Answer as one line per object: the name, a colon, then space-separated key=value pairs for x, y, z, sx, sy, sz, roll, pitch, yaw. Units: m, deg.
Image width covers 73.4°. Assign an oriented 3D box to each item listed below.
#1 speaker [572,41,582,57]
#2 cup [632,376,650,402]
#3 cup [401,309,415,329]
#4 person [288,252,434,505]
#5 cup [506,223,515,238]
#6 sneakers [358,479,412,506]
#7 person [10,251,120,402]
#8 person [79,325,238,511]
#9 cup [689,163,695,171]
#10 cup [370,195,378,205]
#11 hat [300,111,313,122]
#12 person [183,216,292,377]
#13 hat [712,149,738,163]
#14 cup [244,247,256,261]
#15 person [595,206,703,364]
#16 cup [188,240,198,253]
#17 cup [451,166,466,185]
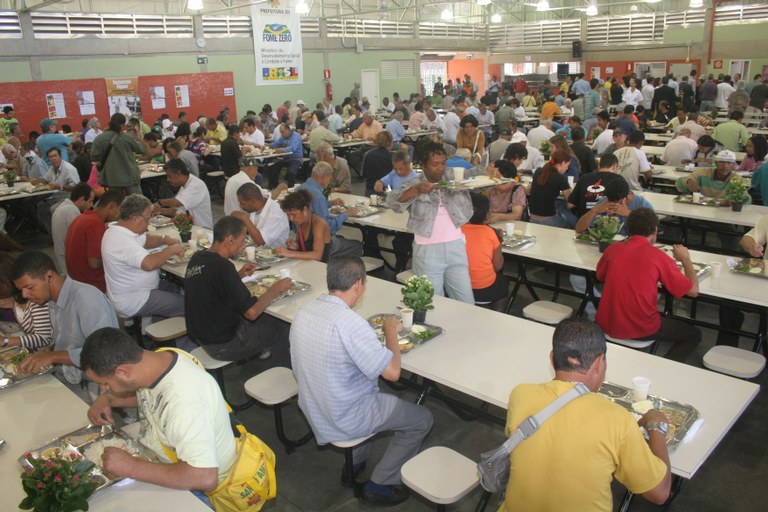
speaker: x=8.187 y=-8.803 z=21.944 sx=0.403 sy=0.667 sz=0.310 roll=6 pitch=21 yaw=23
cup: x=1.556 y=0.797 z=3.132 sx=0.120 sy=0.126 sz=0.120 roll=-2 pitch=4 yaw=0
cup: x=0.177 y=0.474 z=3.891 sx=0.114 sy=0.134 sz=0.133 roll=0 pitch=7 yaw=6
person: x=-0.169 y=0.946 z=3.698 sx=0.984 sy=1.845 sz=0.995 roll=-25 pitch=38 yaw=-36
cup: x=1.348 y=-0.293 z=5.573 sx=0.112 sy=0.144 sz=0.141 roll=-3 pitch=7 yaw=2
sneakers: x=-0.010 y=1.708 z=3.754 sx=0.334 sy=0.119 sz=0.191 roll=-8 pitch=21 yaw=-20
person: x=-2.355 y=0.540 z=3.771 sx=0.570 sy=1.060 sz=0.600 roll=30 pitch=48 yaw=32
person: x=-1.352 y=0.973 z=3.035 sx=0.537 sy=0.936 sz=0.597 roll=-16 pitch=51 yaw=-21
cup: x=4.719 y=-1.377 z=7.906 sx=0.088 sy=0.099 sz=0.103 roll=4 pitch=12 yaw=18
cup: x=-0.125 y=-0.776 z=7.048 sx=0.139 sy=0.158 sz=0.137 roll=2 pitch=4 yaw=0
hat: x=-2.083 y=-3.775 z=13.891 sx=0.318 sy=0.235 sz=0.450 roll=1 pitch=10 yaw=3
person: x=-1.271 y=0.400 z=4.529 sx=0.747 sy=1.362 sz=0.958 roll=35 pitch=47 yaw=28
hat: x=4.231 y=-1.255 z=6.392 sx=0.174 sy=0.098 sz=0.241 roll=10 pitch=25 yaw=28
cup: x=-1.367 y=-0.033 z=5.275 sx=0.127 sy=0.144 sz=0.131 roll=0 pitch=3 yaw=0
person: x=2.199 y=0.368 z=4.409 sx=0.785 sy=1.471 sz=0.853 roll=-21 pitch=24 yaw=-33
cup: x=-2.109 y=-0.109 z=5.661 sx=0.137 sy=0.121 sz=0.155 roll=0 pitch=-1 yaw=-1
cup: x=0.694 y=-0.757 z=4.817 sx=0.151 sy=0.171 sz=0.157 roll=-3 pitch=11 yaw=1
